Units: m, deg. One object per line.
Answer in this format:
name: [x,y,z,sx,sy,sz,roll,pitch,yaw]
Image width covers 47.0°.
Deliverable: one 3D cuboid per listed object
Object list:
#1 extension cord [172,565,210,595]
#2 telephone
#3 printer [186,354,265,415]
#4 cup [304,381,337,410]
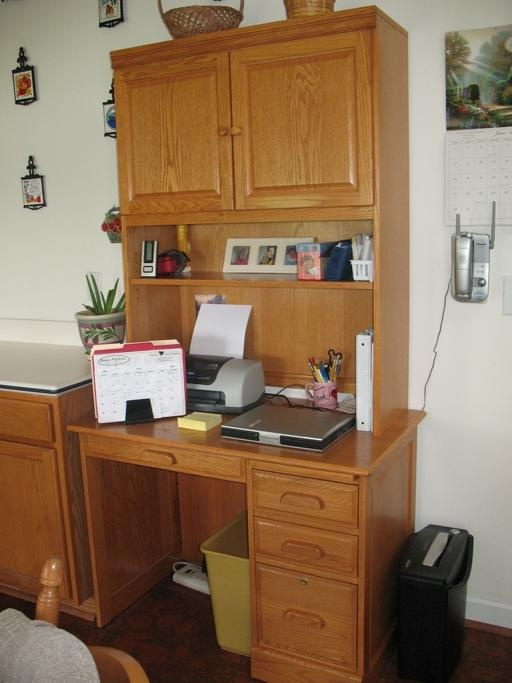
extension cord: [-0.252,0.942,2.330,0.112,0.025,0.080,13,0,24]
telephone: [0.671,-0.268,1.815,0.129,0.311,0.121,2,8,20]
printer: [-0.108,0.140,1.904,0.234,0.119,0.182,4,9,29]
cup: [0.230,0.184,1.990,0.109,0.092,0.070,1,7,21]
